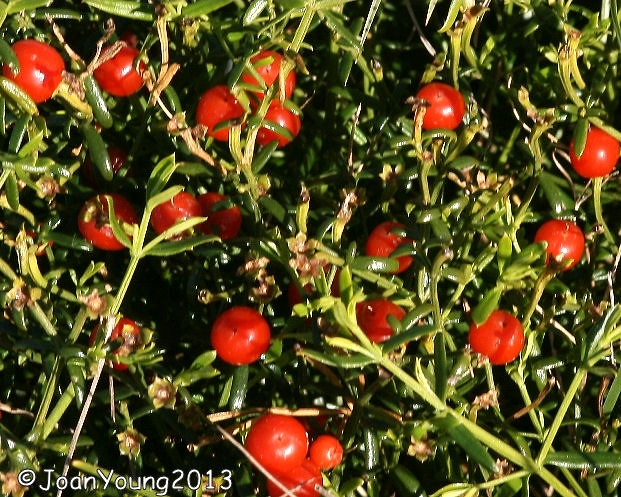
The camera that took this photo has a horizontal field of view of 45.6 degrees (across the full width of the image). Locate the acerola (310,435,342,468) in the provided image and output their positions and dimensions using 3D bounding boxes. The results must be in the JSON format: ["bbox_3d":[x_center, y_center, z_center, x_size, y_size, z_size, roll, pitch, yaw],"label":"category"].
[{"bbox_3d":[0.016,0.198,0.714,0.025,0.032,0.032,2,51,-5],"label":"acerola"}]

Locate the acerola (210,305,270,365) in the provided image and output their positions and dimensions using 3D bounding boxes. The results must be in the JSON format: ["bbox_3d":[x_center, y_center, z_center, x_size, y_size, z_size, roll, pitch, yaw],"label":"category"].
[{"bbox_3d":[-0.068,0.082,0.708,0.056,0.027,0.053,-11,76,-11],"label":"acerola"}]

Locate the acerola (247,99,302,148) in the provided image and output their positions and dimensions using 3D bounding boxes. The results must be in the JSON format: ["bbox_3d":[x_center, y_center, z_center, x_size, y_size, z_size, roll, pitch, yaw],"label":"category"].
[{"bbox_3d":[-0.034,-0.116,0.747,0.035,0.041,0.061,6,88,-20],"label":"acerola"}]

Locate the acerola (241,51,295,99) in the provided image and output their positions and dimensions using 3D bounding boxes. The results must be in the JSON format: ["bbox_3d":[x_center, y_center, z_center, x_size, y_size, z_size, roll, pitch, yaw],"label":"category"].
[{"bbox_3d":[-0.043,-0.193,0.773,0.053,0.039,0.061,-7,22,19],"label":"acerola"}]

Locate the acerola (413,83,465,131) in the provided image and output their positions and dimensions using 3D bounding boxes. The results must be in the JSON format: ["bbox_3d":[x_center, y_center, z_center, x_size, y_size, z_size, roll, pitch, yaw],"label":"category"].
[{"bbox_3d":[0.135,-0.142,0.775,0.050,0.061,0.034,12,40,10],"label":"acerola"}]

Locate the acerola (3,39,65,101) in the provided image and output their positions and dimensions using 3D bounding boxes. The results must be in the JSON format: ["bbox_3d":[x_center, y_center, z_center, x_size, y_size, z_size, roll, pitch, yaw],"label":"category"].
[{"bbox_3d":[-0.267,-0.177,0.723,0.048,0.034,0.054,-6,74,-9],"label":"acerola"}]

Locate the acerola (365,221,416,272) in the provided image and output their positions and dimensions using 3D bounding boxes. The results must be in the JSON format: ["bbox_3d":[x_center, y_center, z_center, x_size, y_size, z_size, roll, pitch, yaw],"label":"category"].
[{"bbox_3d":[0.080,-0.006,0.732,0.037,0.051,0.048,-16,29,13],"label":"acerola"}]
